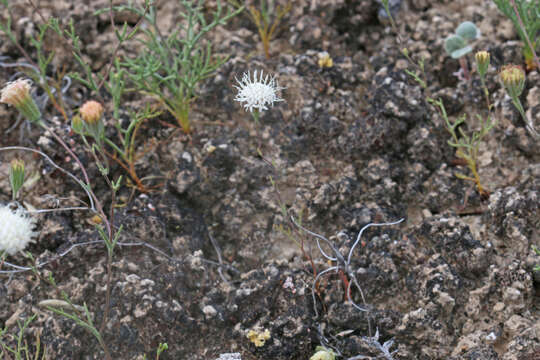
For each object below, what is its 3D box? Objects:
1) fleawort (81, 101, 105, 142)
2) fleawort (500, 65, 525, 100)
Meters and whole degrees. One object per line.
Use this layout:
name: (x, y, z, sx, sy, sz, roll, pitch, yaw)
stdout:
fleawort: (-1.099, -0.353, 3.796, 0.135, 0.243, 0.232, -13, 63, -19)
fleawort: (1.610, -0.613, 4.032, 0.183, 0.193, 0.260, -2, 86, 33)
